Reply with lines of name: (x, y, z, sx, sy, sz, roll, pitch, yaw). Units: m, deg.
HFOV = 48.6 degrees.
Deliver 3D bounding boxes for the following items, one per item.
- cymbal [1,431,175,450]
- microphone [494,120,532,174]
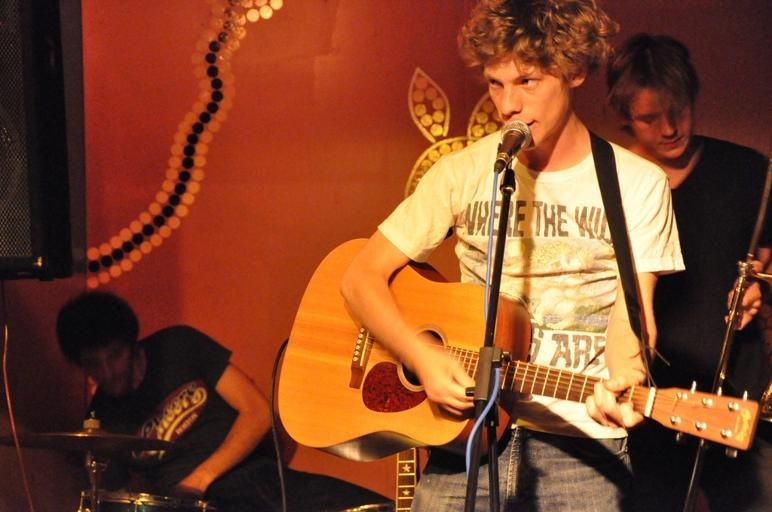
cymbal: (-1.444, 0.865, 3.996, 0.847, 0.103, 0.272, 1, -7, 4)
microphone: (0.451, -0.404, 3.156, 0.095, 0.115, 0.225, 5, 36, 27)
